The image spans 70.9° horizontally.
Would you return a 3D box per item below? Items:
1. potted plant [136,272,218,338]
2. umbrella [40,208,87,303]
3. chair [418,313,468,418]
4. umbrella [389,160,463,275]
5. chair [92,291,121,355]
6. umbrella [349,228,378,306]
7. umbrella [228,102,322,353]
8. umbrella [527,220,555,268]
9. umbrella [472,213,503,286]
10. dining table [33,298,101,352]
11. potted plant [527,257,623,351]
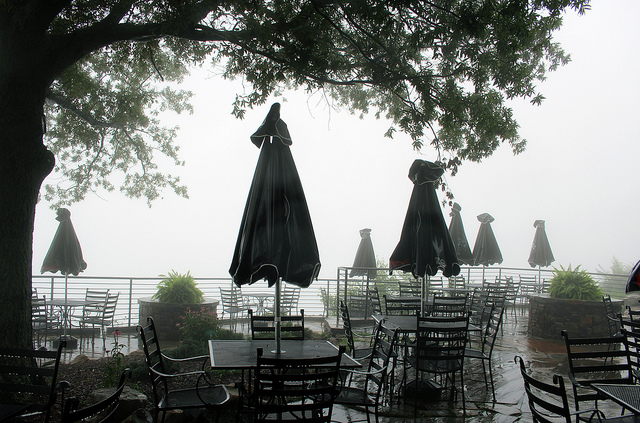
[{"bbox_3d":[-3.887,2.516,12.708,1.942,1.322,1.957,5,0,-19],"label":"potted plant"},{"bbox_3d":[-6.890,1.174,12.200,1.290,2.613,1.339,7,8,16],"label":"umbrella"},{"bbox_3d":[2.211,2.642,7.986,0.859,1.618,1.504,-3,-9,15],"label":"chair"},{"bbox_3d":[2.083,0.109,9.043,1.277,2.295,0.445,-4,-9,17],"label":"umbrella"},{"bbox_3d":[-5.573,2.784,11.474,0.733,1.566,0.702,3,0,-3],"label":"chair"},{"bbox_3d":[1.525,1.387,15.786,0.866,1.914,3.049,-2,-9,6],"label":"umbrella"},{"bbox_3d":[-0.657,-0.035,6.807,1.301,3.331,0.441,0,-8,-8],"label":"umbrella"},{"bbox_3d":[8.358,1.171,17.071,0.888,1.818,0.596,-4,-9,21],"label":"umbrella"},{"bbox_3d":[5.905,1.160,15.977,1.139,2.238,1.171,-17,18,-32],"label":"umbrella"},{"bbox_3d":[-6.345,2.698,11.207,1.390,1.259,1.491,-1,-9,2],"label":"dining table"},{"bbox_3d":[6.864,2.413,11.979,1.816,1.882,1.898,-2,0,24],"label":"potted plant"}]
